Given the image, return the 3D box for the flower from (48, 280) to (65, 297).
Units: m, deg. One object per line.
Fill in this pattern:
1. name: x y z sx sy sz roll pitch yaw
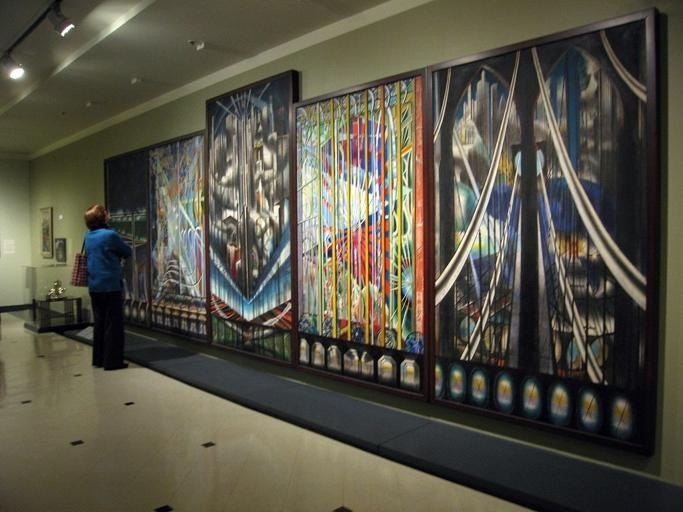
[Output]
1. flower: -4.188 0.494 7.942 0.134 0.237 0.274 3 12 25
